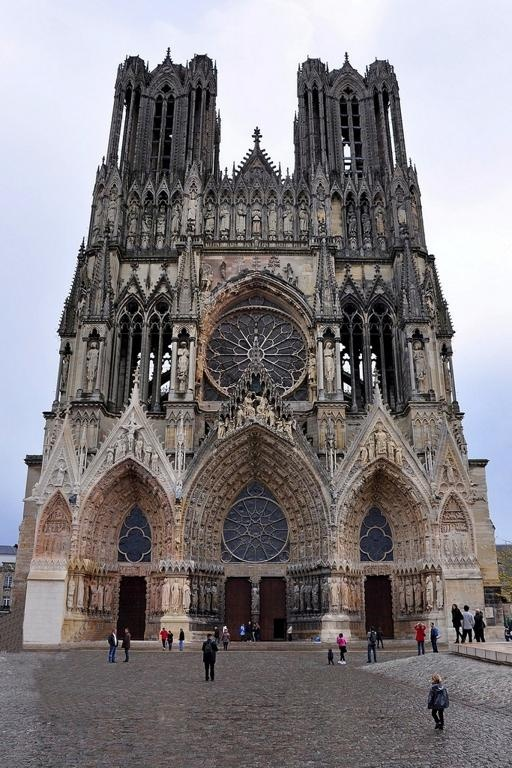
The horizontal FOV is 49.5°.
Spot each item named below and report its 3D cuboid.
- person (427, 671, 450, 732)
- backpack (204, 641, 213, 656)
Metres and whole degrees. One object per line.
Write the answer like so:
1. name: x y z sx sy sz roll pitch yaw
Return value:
1. person: 2.186 3.806 6.703 0.216 0.693 1.127 -4 -19 15
2. backpack: -1.020 5.625 11.866 0.226 0.320 0.446 2 -18 -5
